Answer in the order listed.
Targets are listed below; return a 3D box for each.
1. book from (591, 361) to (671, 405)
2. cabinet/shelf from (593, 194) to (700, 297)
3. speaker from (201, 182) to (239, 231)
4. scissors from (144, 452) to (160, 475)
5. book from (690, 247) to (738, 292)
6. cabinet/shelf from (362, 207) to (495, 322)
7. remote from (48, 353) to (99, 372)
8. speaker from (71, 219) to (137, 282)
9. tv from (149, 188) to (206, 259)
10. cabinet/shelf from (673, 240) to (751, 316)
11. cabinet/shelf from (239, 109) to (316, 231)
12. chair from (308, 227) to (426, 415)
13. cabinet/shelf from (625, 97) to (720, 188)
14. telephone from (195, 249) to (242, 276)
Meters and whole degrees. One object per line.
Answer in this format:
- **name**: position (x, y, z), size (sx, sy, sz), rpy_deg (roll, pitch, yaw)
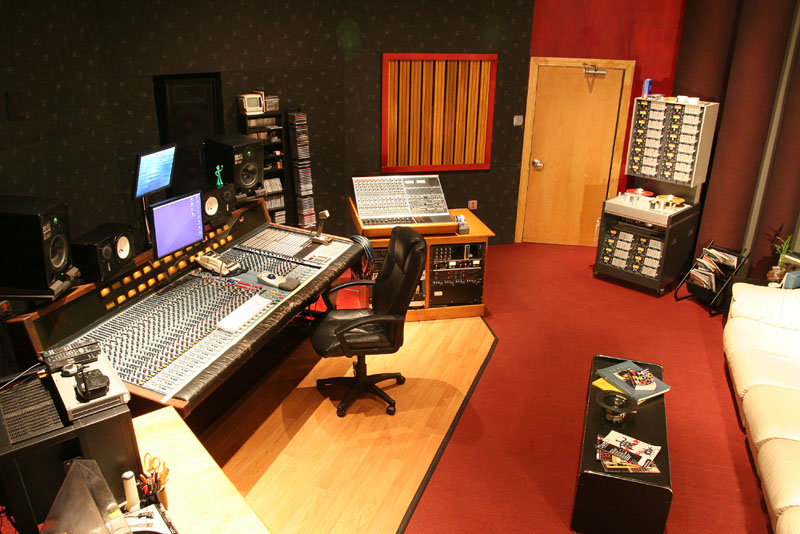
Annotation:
- **book**: position (1.917, 0.936, 4.677), size (0.365, 0.048, 0.328), rpy_deg (-13, 28, -20)
- **cabinet/shelf**: position (3.013, -0.258, 6.862), size (0.814, 1.121, 0.643), rpy_deg (24, 36, 38)
- **speaker**: position (-1.591, -0.527, 5.162), size (0.425, 0.282, 0.248), rpy_deg (-15, -13, 18)
- **scissors**: position (-1.386, 1.097, 3.151), size (0.090, 0.095, 0.083), rpy_deg (1, 33, -9)
- **book**: position (3.605, 0.013, 6.488), size (0.486, 0.481, 0.215), rpy_deg (-32, 16, -37)
- **cabinet/shelf**: position (0.232, 0.019, 6.425), size (1.317, 0.938, 0.747), rpy_deg (-5, 14, -10)
- **remote**: position (-1.826, 0.537, 3.172), size (0.247, 0.049, 0.097), rpy_deg (-11, 21, -28)
- **speaker**: position (-2.208, -0.126, 4.240), size (0.249, 0.296, 0.435), rpy_deg (5, 26, 8)
- **tv**: position (-1.818, -0.333, 4.638), size (0.060, 0.434, 0.584), rpy_deg (11, 18, 19)
- **cabinet/shelf**: position (3.654, 0.173, 6.692), size (0.735, 0.618, 0.664), rpy_deg (1, 22, -10)
- **cabinet/shelf**: position (-1.441, -1.281, 6.837), size (0.712, 1.284, 0.375), rpy_deg (10, 32, 8)
- **chair**: position (-0.322, 0.447, 4.929), size (0.924, 1.484, 0.853), rpy_deg (-6, 21, -22)
- **cabinet/shelf**: position (3.282, -1.502, 6.717), size (0.885, 1.011, 0.481), rpy_deg (17, 24, 39)
- **telephone**: position (-1.559, -0.034, 4.807), size (0.330, 0.118, 0.192), rpy_deg (11, 25, 15)
